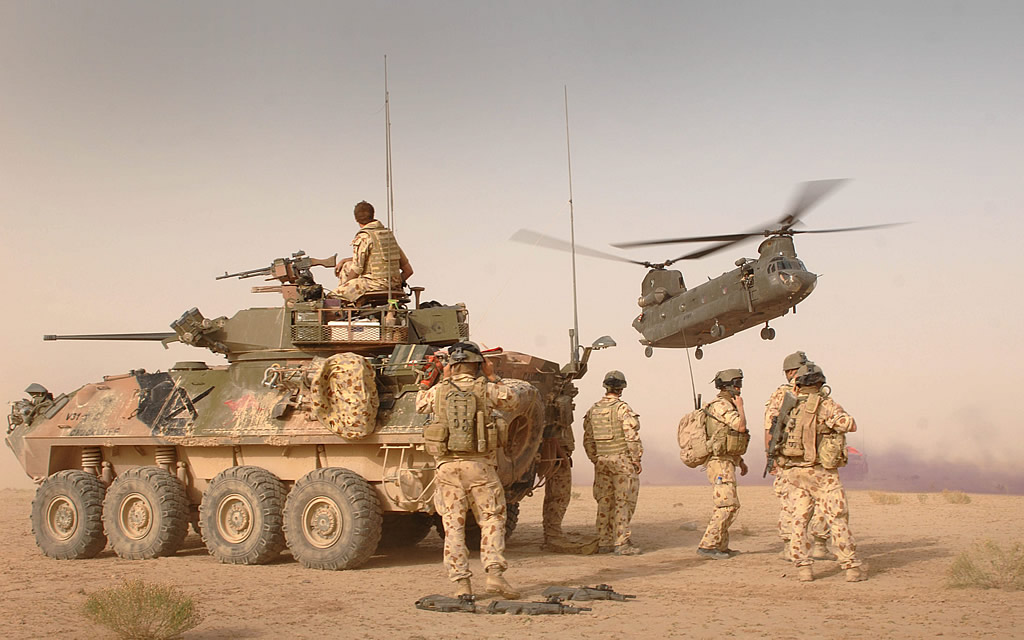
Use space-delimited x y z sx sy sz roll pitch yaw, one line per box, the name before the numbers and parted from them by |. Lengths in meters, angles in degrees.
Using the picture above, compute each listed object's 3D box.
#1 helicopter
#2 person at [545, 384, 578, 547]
helicopter | 5.590 -0.846 26.149 5.401 2.237 7.054 1 -9 -31
person | 1.079 2.395 17.641 1.069 3.042 0.861 1 -1 -1
